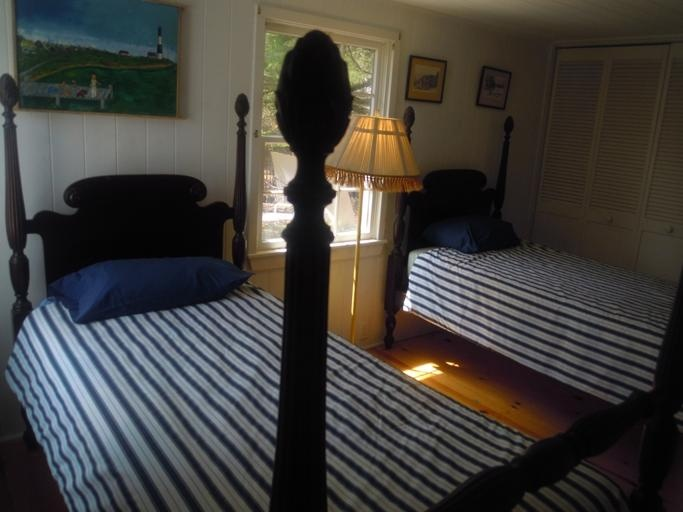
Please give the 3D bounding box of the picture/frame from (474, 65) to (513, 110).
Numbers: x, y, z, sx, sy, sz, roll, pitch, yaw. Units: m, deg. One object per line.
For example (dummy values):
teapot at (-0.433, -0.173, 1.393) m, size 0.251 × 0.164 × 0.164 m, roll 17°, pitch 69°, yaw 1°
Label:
picture/frame at (1.369, -1.516, 4.434) m, size 0.408 × 0.356 × 0.023 m, roll -2°, pitch 15°, yaw -36°

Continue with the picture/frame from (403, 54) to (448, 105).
picture/frame at (0.656, -1.426, 3.952) m, size 0.426 × 0.388 × 0.031 m, roll -5°, pitch 22°, yaw -38°

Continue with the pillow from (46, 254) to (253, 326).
pillow at (-1.000, 0.135, 2.653) m, size 0.656 × 0.191 × 0.435 m, roll -1°, pitch 31°, yaw -34°

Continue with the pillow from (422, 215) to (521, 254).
pillow at (1.097, -0.194, 3.961) m, size 0.501 × 0.164 × 0.382 m, roll -12°, pitch 20°, yaw -30°
